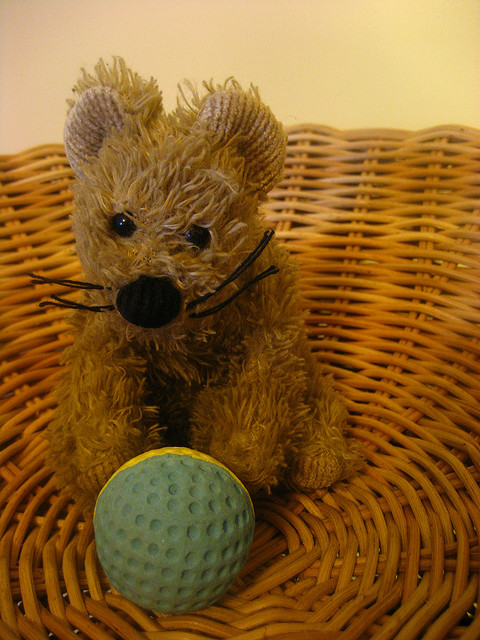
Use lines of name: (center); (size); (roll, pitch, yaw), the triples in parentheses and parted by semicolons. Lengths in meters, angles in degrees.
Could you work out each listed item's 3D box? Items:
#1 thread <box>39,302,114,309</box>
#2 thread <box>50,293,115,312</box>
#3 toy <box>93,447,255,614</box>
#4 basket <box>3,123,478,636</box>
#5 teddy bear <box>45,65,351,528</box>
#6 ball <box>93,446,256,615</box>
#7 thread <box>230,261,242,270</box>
thread: (-0.137, -0.012, 0.556); (0.056, 0.005, 0.007); (7, -38, -17)
thread: (-0.136, -0.015, 0.571); (0.077, 0.009, 0.011); (12, 41, 35)
toy: (-0.044, 0.167, 0.512); (0.126, 0.100, 0.113); (0, -9, -1)
basket: (0.080, 0.074, 0.669); (0.269, 0.512, 0.512); (-8, 22, -19)
teddy bear: (-0.050, -0.016, 0.585); (0.299, 0.395, 0.189); (-3, 7, 0)
ball: (-0.048, 0.148, 0.539); (0.173, 0.106, 0.134); (4, 22, -3)
thread: (-0.003, -0.042, 0.528); (0.007, 0.001, 0.006); (-35, 9, -3)
